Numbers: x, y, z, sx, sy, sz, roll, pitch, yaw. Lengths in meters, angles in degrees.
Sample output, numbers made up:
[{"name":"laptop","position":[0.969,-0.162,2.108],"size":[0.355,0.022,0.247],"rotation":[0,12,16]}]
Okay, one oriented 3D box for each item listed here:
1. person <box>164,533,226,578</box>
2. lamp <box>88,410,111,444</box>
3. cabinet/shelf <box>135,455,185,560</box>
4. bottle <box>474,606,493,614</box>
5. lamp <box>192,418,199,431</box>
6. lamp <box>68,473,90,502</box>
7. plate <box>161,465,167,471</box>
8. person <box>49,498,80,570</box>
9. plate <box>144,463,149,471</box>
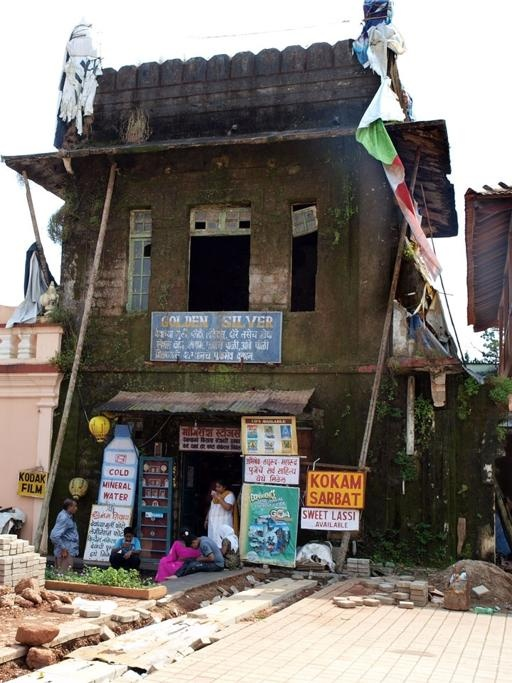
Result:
[{"name":"person","position":[-1.016,3.209,11.000],"size":[1.004,0.598,0.636],"rotation":[-3,-13,-13]},{"name":"lamp","position":[-2.775,1.537,12.925],"size":[0.420,0.515,0.413],"rotation":[2,-8,-36]},{"name":"cabinet/shelf","position":[-1.773,2.824,12.549],"size":[0.598,1.973,0.173],"rotation":[9,-40,-15]},{"name":"bottle","position":[2.476,2.894,8.018],"size":[0.226,0.054,0.382],"rotation":[-2,-15,17]},{"name":"lamp","position":[-1.075,1.435,12.819],"size":[0.112,0.177,0.077],"rotation":[1,-4,7]},{"name":"lamp","position":[-3.154,2.539,12.945],"size":[0.333,0.444,0.352],"rotation":[7,-24,-1]},{"name":"plate","position":[-1.598,2.141,12.611],"size":[0.079,0.121,0.034],"rotation":[-2,-10,17]},{"name":"person","position":[-2.870,2.857,10.941],"size":[0.379,0.985,0.426],"rotation":[5,-13,-12]},{"name":"plate","position":[-1.919,2.139,12.668],"size":[0.069,0.108,0.026],"rotation":[11,2,19]}]
